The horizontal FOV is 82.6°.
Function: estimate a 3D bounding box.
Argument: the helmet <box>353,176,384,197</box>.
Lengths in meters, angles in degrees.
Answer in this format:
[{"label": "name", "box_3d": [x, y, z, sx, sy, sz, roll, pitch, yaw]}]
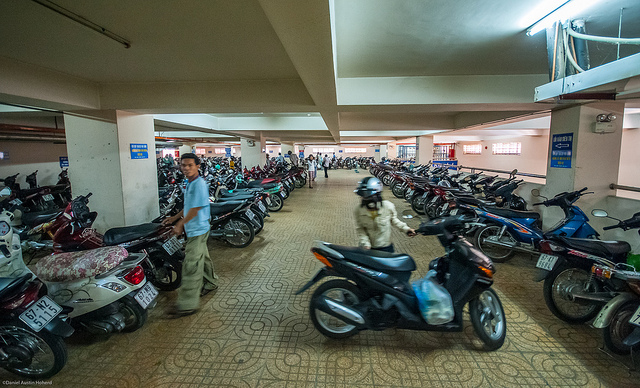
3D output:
[{"label": "helmet", "box_3d": [0.713, -0.122, 5.405, 0.437, 0.209, 0.257, 0, 8, 5]}]

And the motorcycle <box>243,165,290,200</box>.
[{"label": "motorcycle", "box_3d": [-2.104, -0.513, 12.940, 2.110, 1.034, 0.968, 3, 10, 8]}]

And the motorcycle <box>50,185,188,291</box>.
[{"label": "motorcycle", "box_3d": [-3.313, 0.879, 5.982, 2.520, 1.160, 0.783, -1, 0, 11]}]

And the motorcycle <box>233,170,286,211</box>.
[{"label": "motorcycle", "box_3d": [-2.026, -0.013, 10.566, 1.910, 0.935, 0.922, 3, 8, 10]}]

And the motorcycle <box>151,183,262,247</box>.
[{"label": "motorcycle", "box_3d": [-2.388, 0.479, 7.761, 2.457, 1.241, 1.080, -3, 0, 26]}]

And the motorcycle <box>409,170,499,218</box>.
[{"label": "motorcycle", "box_3d": [3.896, -0.064, 9.950, 2.501, 1.223, 1.384, -6, 19, -14]}]

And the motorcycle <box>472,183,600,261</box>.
[{"label": "motorcycle", "box_3d": [3.912, 0.546, 6.639, 2.502, 1.280, 1.010, 3, -8, 0]}]
